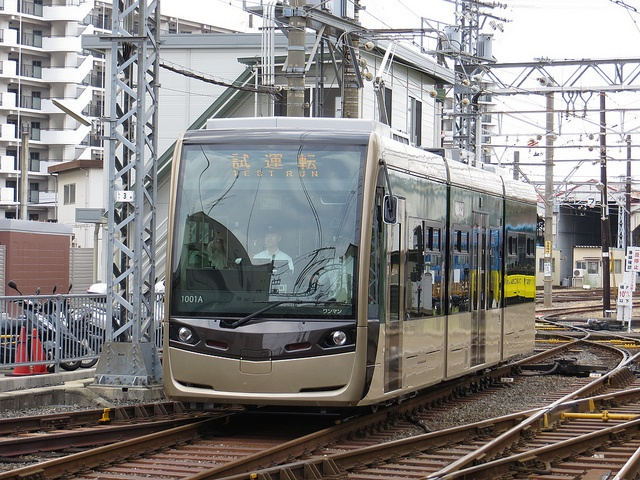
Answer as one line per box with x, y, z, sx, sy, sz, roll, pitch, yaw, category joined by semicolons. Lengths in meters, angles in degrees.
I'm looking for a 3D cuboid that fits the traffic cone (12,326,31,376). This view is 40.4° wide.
-5.219;1.960;15.378;0.328;0.829;0.654;2;2;-20;traffic cone

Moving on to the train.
1.407;0.543;16.523;3.274;4.322;10.826;1;-2;26;train
